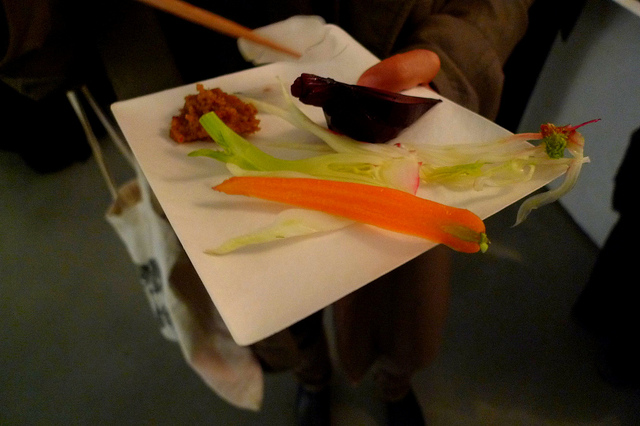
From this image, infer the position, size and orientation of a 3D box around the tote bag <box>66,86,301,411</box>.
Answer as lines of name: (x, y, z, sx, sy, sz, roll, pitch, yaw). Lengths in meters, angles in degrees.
tote bag: (-0.248, 0.031, 0.782, 0.165, 0.066, 0.583, -23, 67, -8)

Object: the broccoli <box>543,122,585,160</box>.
broccoli: (0.424, -0.129, 0.922, 0.068, 0.025, 0.069, -34, 97, -29)

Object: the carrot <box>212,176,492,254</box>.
carrot: (0.054, -0.018, 0.878, 0.464, 0.072, 0.087, 13, 23, 18)
